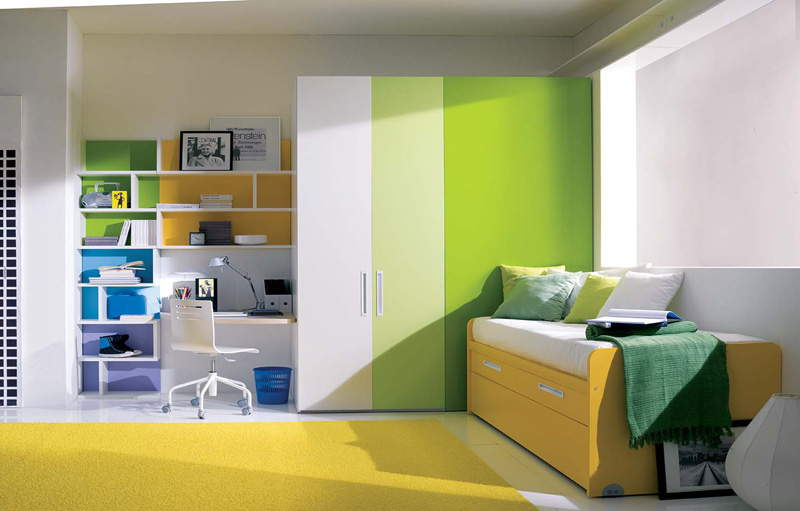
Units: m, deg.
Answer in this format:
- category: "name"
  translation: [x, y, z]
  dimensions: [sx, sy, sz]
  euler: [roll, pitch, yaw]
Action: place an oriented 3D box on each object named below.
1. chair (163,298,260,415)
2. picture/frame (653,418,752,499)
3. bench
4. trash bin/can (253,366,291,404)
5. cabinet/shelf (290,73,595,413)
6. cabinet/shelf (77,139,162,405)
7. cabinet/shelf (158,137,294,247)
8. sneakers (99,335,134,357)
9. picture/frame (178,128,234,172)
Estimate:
- category: "chair"
  translation: [-1.948, 1.036, 6.478]
  dimensions: [0.947, 1.100, 0.987]
  euler: [4, -6, -33]
- category: "picture/frame"
  translation: [2.147, 1.459, 4.514]
  dimensions: [0.636, 0.408, 0.025]
  euler: [0, -6, -6]
- category: "bench"
  translation: [1.713, 1.164, 5.014]
  dimensions: [1.291, 0.735, 1.714]
  euler: [1, -2, -14]
- category: "trash bin/can"
  translation: [-1.359, 1.399, 6.750]
  dimensions: [0.437, 0.352, 0.476]
  euler: [-7, -13, 28]
- category: "cabinet/shelf"
  translation: [0.327, -0.063, 6.091]
  dimensions: [3.619, 3.723, 1.243]
  euler: [0, 0, -3]
- category: "cabinet/shelf"
  translation: [-3.051, 0.174, 6.803]
  dimensions: [0.944, 2.607, 0.340]
  euler: [1, 1, -6]
- category: "cabinet/shelf"
  translation: [-1.966, -0.691, 6.899]
  dimensions: [1.291, 0.690, 0.329]
  euler: [-1, -5, -9]
- category: "sneakers"
  translation: [-3.041, 0.969, 6.767]
  dimensions: [0.320, 0.199, 0.239]
  euler: [-3, 9, -22]
- category: "picture/frame"
  translation: [-2.098, -1.113, 6.853]
  dimensions: [0.512, 0.351, 0.024]
  euler: [0, -2, -2]
